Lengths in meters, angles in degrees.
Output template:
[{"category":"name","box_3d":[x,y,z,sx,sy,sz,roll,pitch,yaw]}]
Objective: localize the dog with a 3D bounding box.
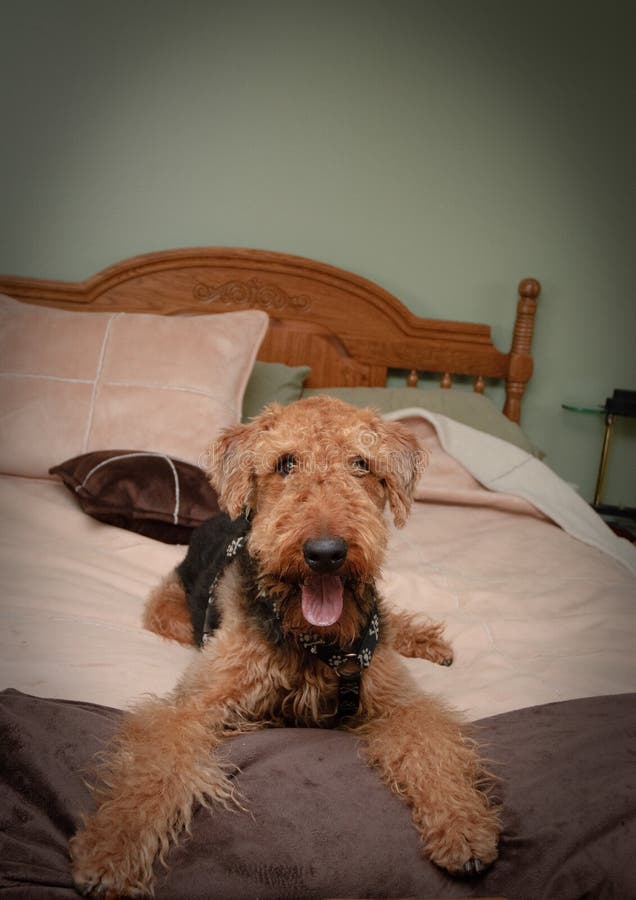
[{"category":"dog","box_3d":[-0.044,0.284,1.468,0.487,0.391,0.868,2,6,-2]}]

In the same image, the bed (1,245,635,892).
[{"category":"bed","box_3d":[-0.314,0.118,3.129,1.844,1.236,2.027,11,15,5]}]
